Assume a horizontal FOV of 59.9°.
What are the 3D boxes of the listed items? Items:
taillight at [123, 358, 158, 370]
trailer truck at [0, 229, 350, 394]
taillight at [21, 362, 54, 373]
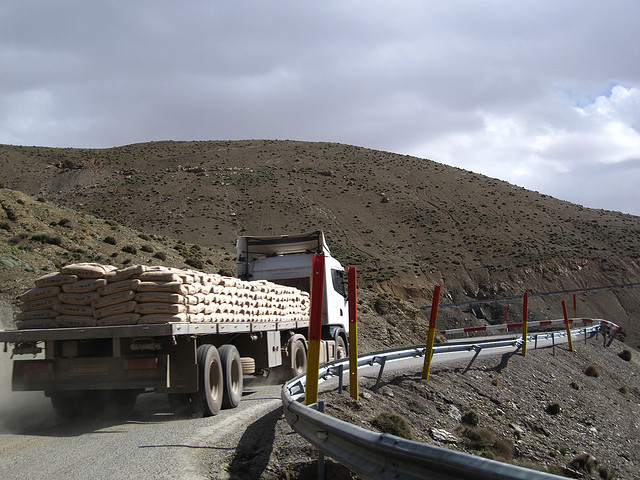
[{"bbox_3d":[-3.354,2.311,10.384,0.635,0.179,0.101,-4,-2,-1],"label":"taillight"},{"bbox_3d":[-2.495,1.540,14.440,4.453,2.645,10.369,-6,-3,31],"label":"trailer truck"},{"bbox_3d":[-5.375,2.422,10.592,0.651,0.140,0.093,-5,-1,12],"label":"taillight"}]
